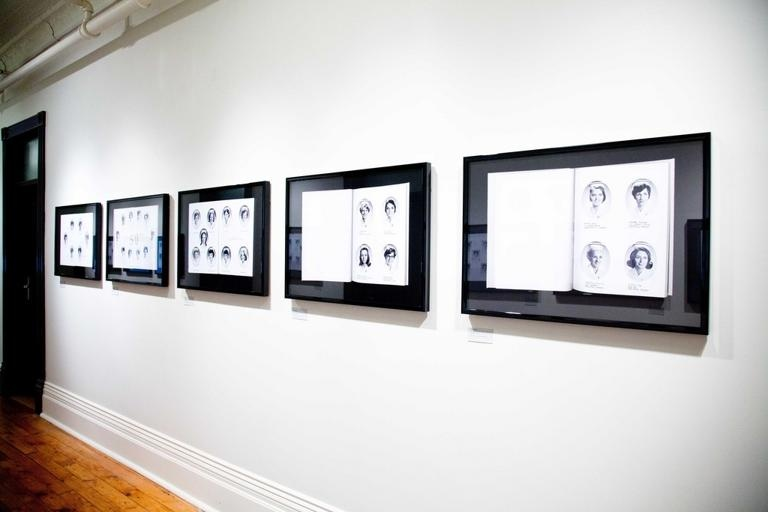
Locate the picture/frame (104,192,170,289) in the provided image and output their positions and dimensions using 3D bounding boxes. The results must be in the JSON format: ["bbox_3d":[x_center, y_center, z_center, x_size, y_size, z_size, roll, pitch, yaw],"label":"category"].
[{"bbox_3d":[-2.097,-0.132,4.755,0.770,0.718,0.083,1,1,36],"label":"picture/frame"}]

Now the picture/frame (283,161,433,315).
[{"bbox_3d":[-0.138,-0.117,3.599,0.921,0.798,0.068,3,2,29],"label":"picture/frame"}]

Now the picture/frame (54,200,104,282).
[{"bbox_3d":[-2.948,-0.142,5.337,0.700,0.687,0.066,1,1,29],"label":"picture/frame"}]

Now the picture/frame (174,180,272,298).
[{"bbox_3d":[-1.247,-0.130,4.233,0.822,0.805,0.056,-2,-5,22],"label":"picture/frame"}]

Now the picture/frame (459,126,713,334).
[{"bbox_3d":[1.168,-0.140,3.079,1.069,0.865,0.051,2,0,23],"label":"picture/frame"}]
